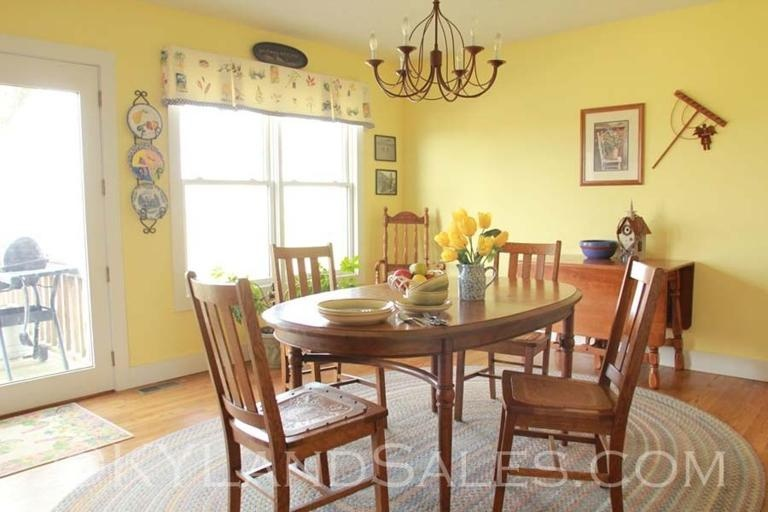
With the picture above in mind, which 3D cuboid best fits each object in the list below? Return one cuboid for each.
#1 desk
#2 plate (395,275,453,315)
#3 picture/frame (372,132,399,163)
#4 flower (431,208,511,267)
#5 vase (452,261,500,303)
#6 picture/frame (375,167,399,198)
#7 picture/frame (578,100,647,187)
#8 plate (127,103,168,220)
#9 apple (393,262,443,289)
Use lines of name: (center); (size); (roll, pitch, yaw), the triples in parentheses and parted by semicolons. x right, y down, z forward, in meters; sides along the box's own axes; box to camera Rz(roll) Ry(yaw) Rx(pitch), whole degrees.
desk: (2.241, 0.492, 5.055); (0.924, 1.027, 1.513); (-11, 9, -30)
plate: (0.224, 0.220, 3.232); (0.316, 0.198, 0.289); (0, 11, 1)
picture/frame: (0.001, -1.224, 6.228); (0.031, 0.320, 0.423); (0, 0, 41)
flower: (0.703, -0.152, 4.230); (0.535, 0.541, 0.553); (-8, 17, -7)
vase: (0.589, 0.164, 3.494); (0.283, 0.216, 0.158); (-2, 4, -6)
picture/frame: (0.017, -0.838, 6.276); (0.030, 0.316, 0.410); (0, 2, 44)
picture/frame: (2.129, -1.036, 5.161); (0.584, 0.733, 0.209); (4, 14, 20)
plate: (-2.008, -0.805, 4.681); (0.330, 1.019, 0.144); (-9, 15, -32)
apple: (0.190, 0.129, 3.438); (0.235, 0.104, 0.205); (-6, -1, -3)
